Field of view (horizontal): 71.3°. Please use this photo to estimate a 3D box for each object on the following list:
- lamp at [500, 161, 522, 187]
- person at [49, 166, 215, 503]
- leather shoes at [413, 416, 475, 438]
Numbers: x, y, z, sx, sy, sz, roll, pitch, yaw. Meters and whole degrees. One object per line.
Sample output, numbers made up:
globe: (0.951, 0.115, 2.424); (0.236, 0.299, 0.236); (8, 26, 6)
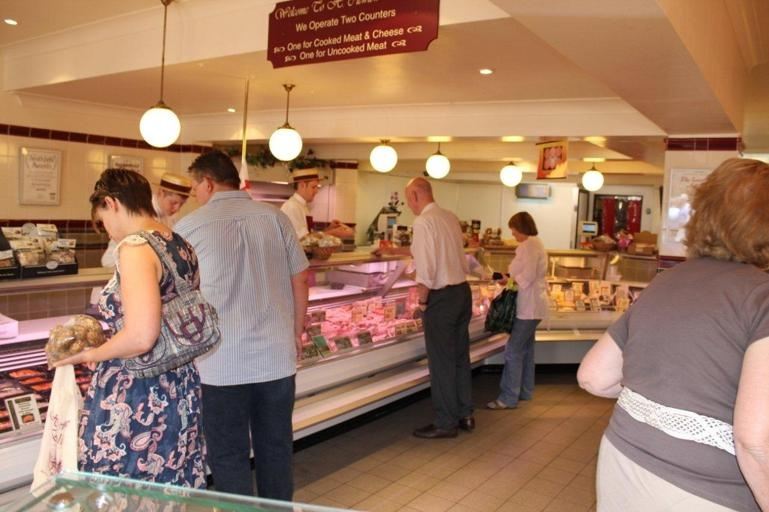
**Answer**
lamp: (2.245, -1.477, 9.515); (0.304, 0.409, 0.879); (6, 9, 16)
person: (-1.113, 0.388, 2.469); (0.651, 1.550, 0.440); (1, 9, -17)
leather shoes: (0.565, 1.545, 4.973); (0.563, 0.203, 0.198); (2, -3, -13)
